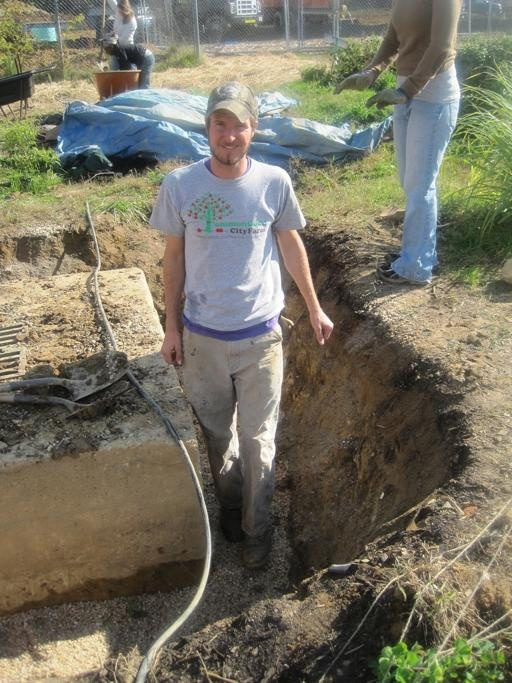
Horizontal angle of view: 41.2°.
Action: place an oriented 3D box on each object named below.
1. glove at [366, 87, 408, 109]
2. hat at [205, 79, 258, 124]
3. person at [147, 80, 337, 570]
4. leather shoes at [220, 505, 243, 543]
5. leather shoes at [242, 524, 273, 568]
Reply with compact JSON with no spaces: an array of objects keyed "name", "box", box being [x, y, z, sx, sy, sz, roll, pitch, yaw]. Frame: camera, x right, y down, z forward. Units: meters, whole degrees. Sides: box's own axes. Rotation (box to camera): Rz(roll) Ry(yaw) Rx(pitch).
[{"name":"glove","box":[0.765,-1.425,4.000,0.239,0.108,0.252,1,23,10]},{"name":"hat","box":[-0.116,-1.047,2.951,0.224,0.149,0.313,4,18,-5]},{"name":"person","box":[-0.065,0.079,3.339,0.777,2.514,0.350,-8,26,-8]},{"name":"leather shoes","box":[-0.139,1.030,3.844,0.165,0.191,0.187,-1,62,1]},{"name":"leather shoes","box":[0.007,1.120,3.784,0.151,0.219,0.220,7,59,6]}]
